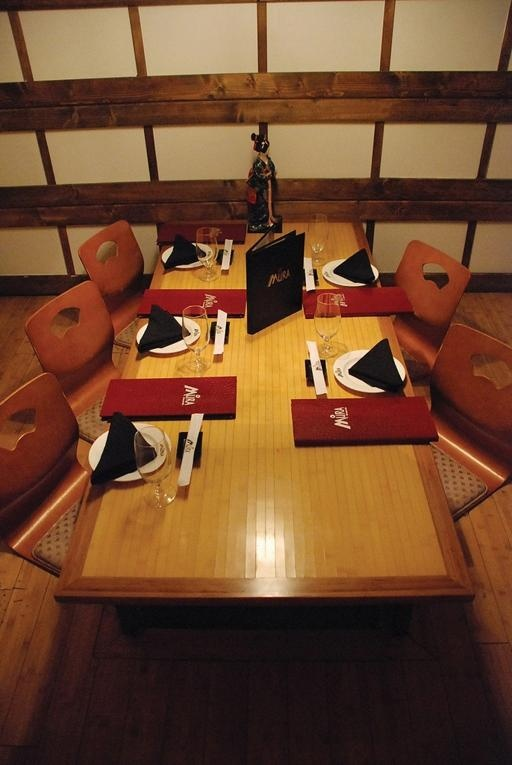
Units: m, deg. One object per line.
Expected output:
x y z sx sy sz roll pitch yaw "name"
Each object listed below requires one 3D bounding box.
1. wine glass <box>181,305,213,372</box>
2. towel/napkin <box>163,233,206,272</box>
-0.226 -0.156 1.894 0.094 0.111 0.217 -19 -34 -15 "wine glass"
-0.352 -0.632 2.506 0.181 0.199 0.059 10 -35 8 "towel/napkin"
